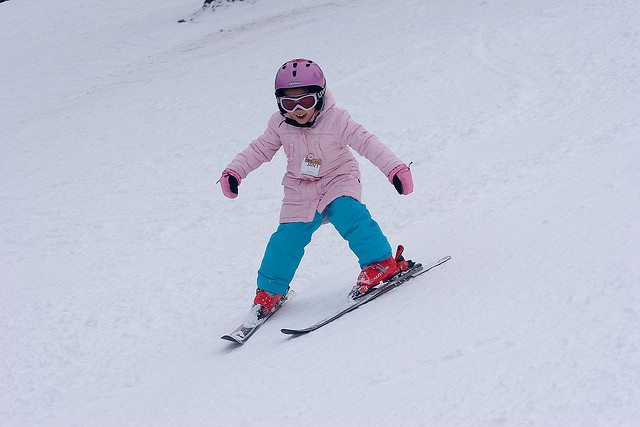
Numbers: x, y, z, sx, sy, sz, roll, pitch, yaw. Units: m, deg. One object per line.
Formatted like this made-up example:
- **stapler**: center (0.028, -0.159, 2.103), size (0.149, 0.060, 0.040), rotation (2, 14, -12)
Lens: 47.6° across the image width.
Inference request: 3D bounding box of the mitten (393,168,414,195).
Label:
- **mitten**: center (0.699, -0.280, 6.199), size (0.171, 0.221, 0.210), rotation (-5, 98, 4)

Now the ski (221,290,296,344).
- **ski**: center (-0.496, 0.895, 6.375), size (1.219, 0.210, 0.117), rotation (-43, 138, -56)

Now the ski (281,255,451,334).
- **ski**: center (0.414, 0.703, 6.124), size (1.286, 0.142, 0.130), rotation (-25, 94, -21)

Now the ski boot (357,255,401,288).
- **ski boot**: center (0.488, 0.489, 6.290), size (0.426, 0.163, 0.178), rotation (-26, 105, -6)
